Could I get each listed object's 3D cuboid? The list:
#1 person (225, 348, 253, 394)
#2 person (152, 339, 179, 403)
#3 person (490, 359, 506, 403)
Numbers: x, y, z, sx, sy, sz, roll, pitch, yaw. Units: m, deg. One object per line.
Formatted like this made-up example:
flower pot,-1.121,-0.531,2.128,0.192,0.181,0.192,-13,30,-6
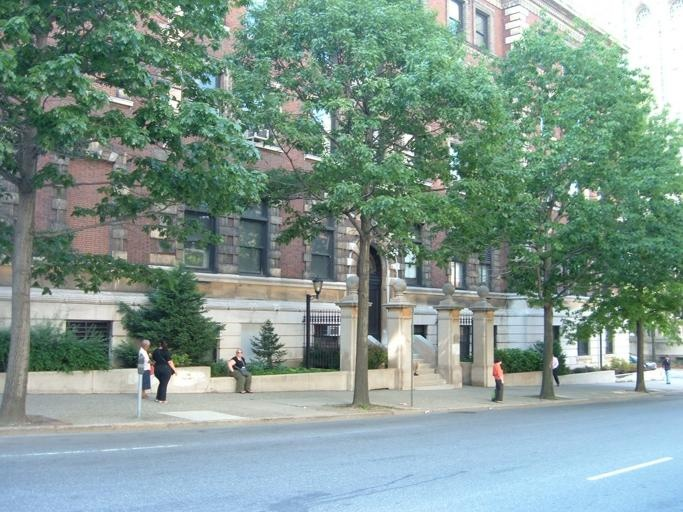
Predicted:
person,-3.468,3.950,26.359,0.782,1.454,0.748,1,-9,-7
person,-5.350,3.460,23.198,0.690,1.855,0.983,2,-10,-12
person,5.653,4.570,28.200,0.379,1.536,0.989,-1,-10,8
